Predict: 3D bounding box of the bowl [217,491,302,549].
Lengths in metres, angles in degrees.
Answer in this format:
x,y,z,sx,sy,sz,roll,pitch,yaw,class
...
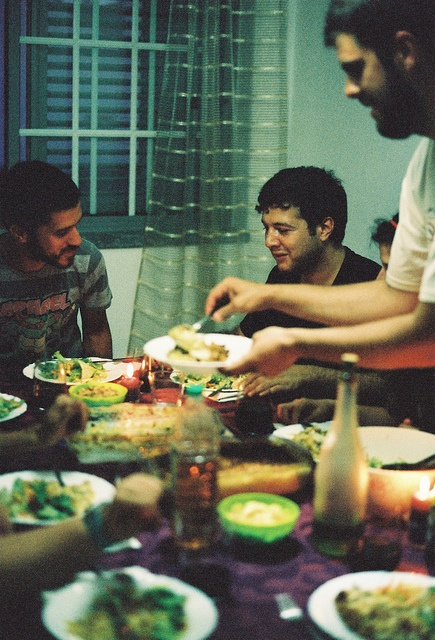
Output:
x,y,z,sx,sy,sz,roll,pitch,yaw,class
0.051,0.253,0.793,0.101,0.044,0.080,0,10,-12,bowl

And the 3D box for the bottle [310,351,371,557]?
x,y,z,sx,sy,sz,roll,pitch,yaw,class
0.160,0.162,0.790,0.066,0.252,0.094,5,11,14,bottle
